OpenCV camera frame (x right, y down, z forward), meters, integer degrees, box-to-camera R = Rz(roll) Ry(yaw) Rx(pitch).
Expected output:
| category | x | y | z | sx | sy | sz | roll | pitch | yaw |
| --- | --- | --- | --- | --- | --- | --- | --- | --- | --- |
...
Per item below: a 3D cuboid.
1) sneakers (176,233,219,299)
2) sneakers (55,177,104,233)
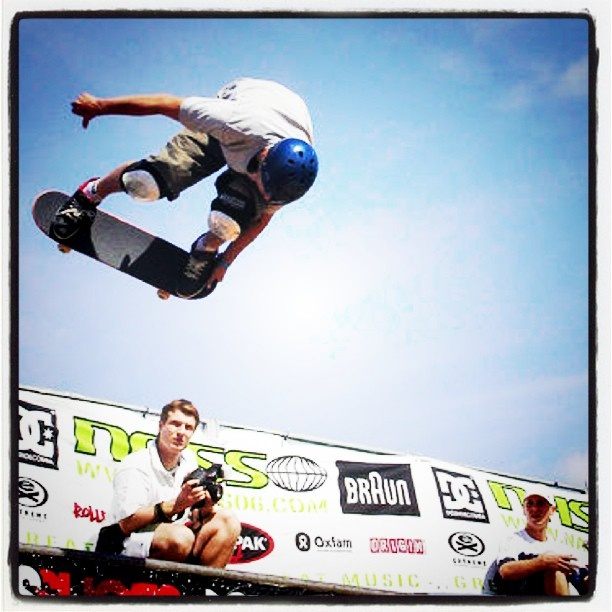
| category | x | y | z | sx | sy | sz | roll | pitch | yaw |
| --- | --- | --- | --- | --- | --- | --- | --- | --- | --- |
| sneakers | -0.548 | -0.195 | 4.260 | 0.141 | 0.379 | 0.159 | 20 | 4 | -5 |
| sneakers | -1.194 | -0.499 | 4.265 | 0.132 | 0.388 | 0.153 | 44 | -3 | -18 |
